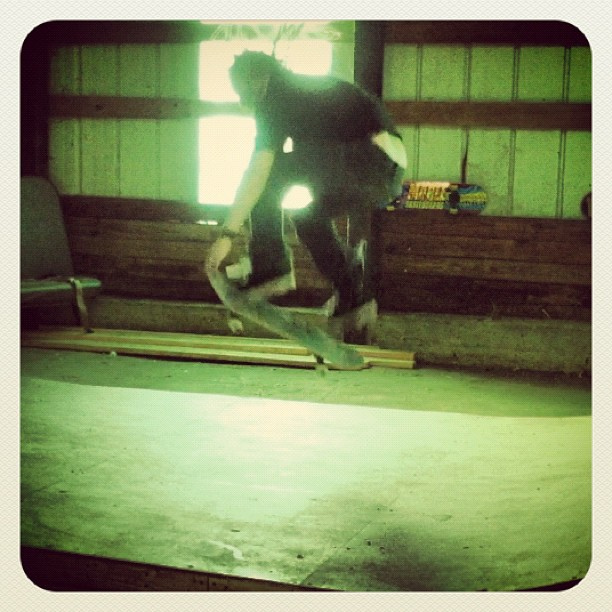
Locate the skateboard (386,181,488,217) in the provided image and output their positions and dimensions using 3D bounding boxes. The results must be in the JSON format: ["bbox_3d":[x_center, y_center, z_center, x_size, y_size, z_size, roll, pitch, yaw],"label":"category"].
[{"bbox_3d":[1.140,-0.932,7.673,0.828,0.282,0.092,2,11,3],"label":"skateboard"}]

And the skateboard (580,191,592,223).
[{"bbox_3d":[2.403,-0.837,7.514,0.057,0.191,0.216,1,-2,24],"label":"skateboard"}]

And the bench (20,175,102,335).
[{"bbox_3d":[-2.278,-0.467,8.094,0.606,1.385,0.996,-2,11,-18],"label":"bench"}]
